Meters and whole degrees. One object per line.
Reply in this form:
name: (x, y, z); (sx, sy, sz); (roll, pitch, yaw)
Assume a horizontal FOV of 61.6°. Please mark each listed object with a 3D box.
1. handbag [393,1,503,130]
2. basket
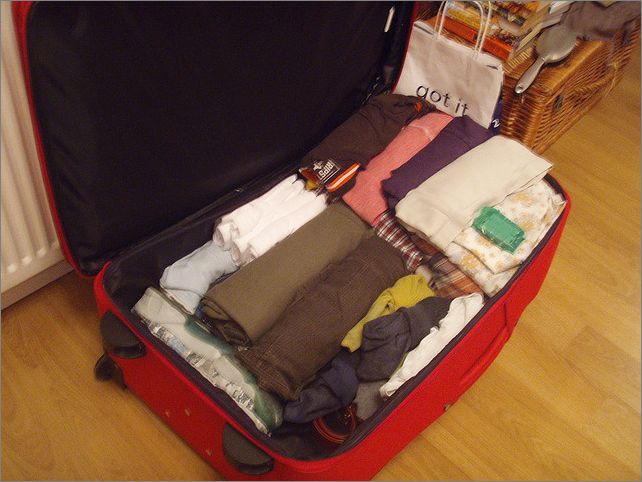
handbag: (0.443, -0.513, 1.825); (0.319, 0.408, 0.239); (33, 52, 28)
basket: (0.862, -0.532, 2.109); (0.559, 0.303, 0.703); (36, 64, 25)
